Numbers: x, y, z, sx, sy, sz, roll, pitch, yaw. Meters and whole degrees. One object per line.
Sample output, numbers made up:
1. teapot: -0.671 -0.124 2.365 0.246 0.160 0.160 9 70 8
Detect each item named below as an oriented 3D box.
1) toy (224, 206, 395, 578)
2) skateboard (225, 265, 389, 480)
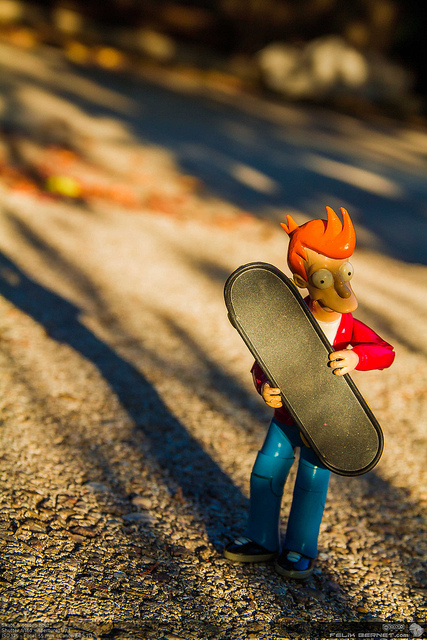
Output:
1. toy: 0.288 0.248 2.146 0.672 1.126 0.505 5 3 -36
2. skateboard: 0.277 0.145 2.135 0.288 0.888 0.113 -39 6 5
